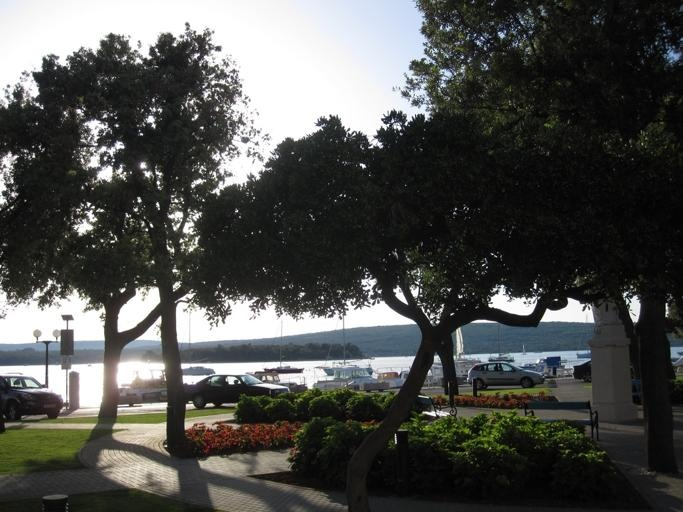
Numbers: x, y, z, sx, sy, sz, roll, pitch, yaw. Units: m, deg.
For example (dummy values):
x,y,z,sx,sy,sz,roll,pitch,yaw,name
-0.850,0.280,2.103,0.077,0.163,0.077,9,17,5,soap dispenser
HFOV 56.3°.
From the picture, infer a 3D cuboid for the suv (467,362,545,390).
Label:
x,y,z,sx,sy,sz,roll,pitch,yaw,name
10.705,8.189,41.985,4.844,2.365,2.366,-1,-4,12,suv
